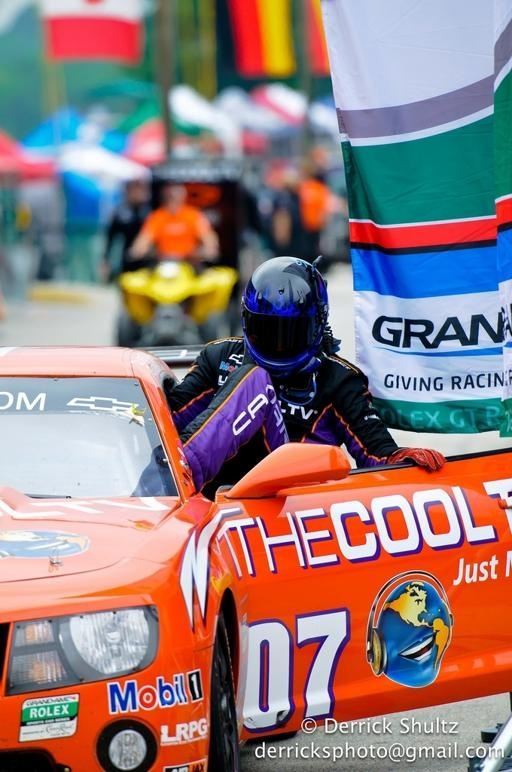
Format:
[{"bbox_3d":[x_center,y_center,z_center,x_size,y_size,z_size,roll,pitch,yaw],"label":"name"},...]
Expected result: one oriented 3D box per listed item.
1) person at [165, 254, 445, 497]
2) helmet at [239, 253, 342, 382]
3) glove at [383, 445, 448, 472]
[{"bbox_3d":[-0.069,0.011,3.661,1.446,1.025,0.976,6,7,-3],"label":"person"},{"bbox_3d":[0.147,-0.340,3.692,0.447,0.450,0.501,2,22,5],"label":"helmet"},{"bbox_3d":[0.566,0.258,3.000,0.155,0.049,0.100,-6,8,41],"label":"glove"}]
